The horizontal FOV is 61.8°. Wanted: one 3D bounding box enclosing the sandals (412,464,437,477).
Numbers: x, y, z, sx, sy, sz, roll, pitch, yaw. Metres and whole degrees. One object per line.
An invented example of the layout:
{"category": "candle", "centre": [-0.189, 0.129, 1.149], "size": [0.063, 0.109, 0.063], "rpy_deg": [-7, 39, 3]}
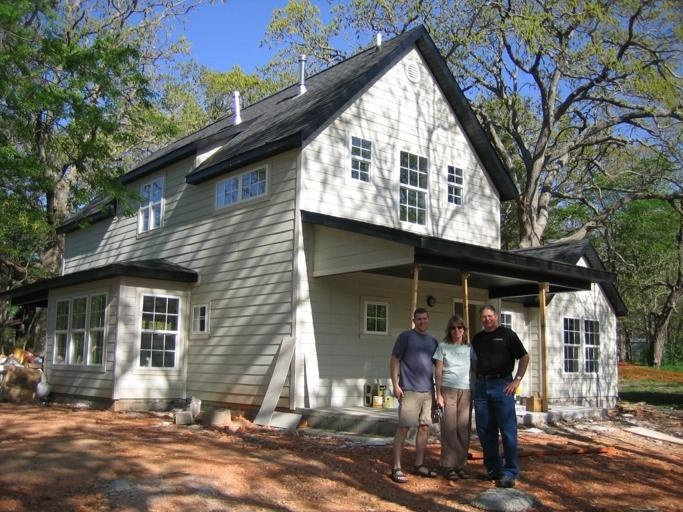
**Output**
{"category": "sandals", "centre": [1.252, 3.178, 8.460], "size": [0.159, 0.129, 0.295], "rpy_deg": [0, -7, -45]}

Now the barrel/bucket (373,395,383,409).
{"category": "barrel/bucket", "centre": [0.871, 3.487, 13.632], "size": [0.260, 0.266, 0.272], "rpy_deg": [3, -12, 1]}

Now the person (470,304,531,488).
{"category": "person", "centre": [2.289, 2.016, 8.310], "size": [0.777, 2.554, 0.719], "rpy_deg": [0, -12, 13]}

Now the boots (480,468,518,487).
{"category": "boots", "centre": [2.245, 3.168, 8.154], "size": [0.209, 0.268, 0.573], "rpy_deg": [6, -19, -36]}

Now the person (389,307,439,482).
{"category": "person", "centre": [1.070, 2.035, 8.406], "size": [0.584, 2.491, 0.842], "rpy_deg": [-4, -14, 30]}

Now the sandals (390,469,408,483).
{"category": "sandals", "centre": [0.804, 3.170, 8.222], "size": [0.334, 0.198, 0.164], "rpy_deg": [-9, -17, 43]}

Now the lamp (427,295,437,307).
{"category": "lamp", "centre": [2.446, 1.212, 15.501], "size": [0.085, 0.334, 0.401], "rpy_deg": [-6, -16, 39]}
